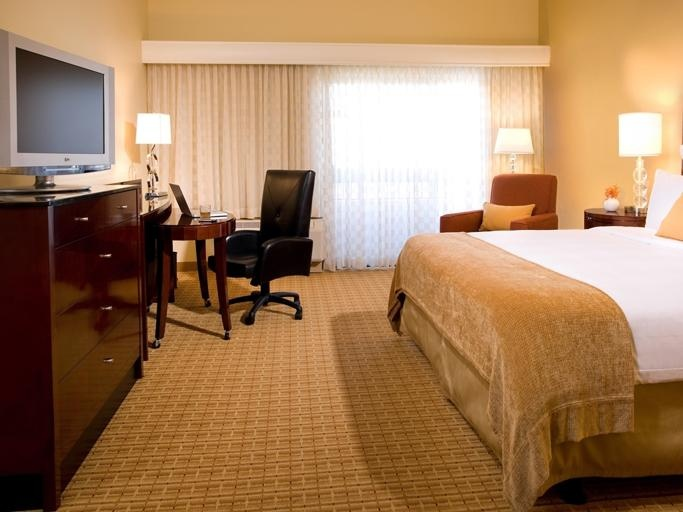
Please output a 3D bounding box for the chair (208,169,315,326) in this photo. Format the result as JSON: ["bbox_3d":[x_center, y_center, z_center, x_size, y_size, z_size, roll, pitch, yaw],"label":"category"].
[{"bbox_3d":[-0.712,-0.102,4.928,0.768,1.288,0.706,-6,11,-43],"label":"chair"}]

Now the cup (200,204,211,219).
[{"bbox_3d":[-1.093,-0.354,4.479,0.084,0.115,0.097,0,2,-11],"label":"cup"}]

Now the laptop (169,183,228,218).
[{"bbox_3d":[-1.210,-0.446,4.635,0.367,0.256,0.384,-1,7,-19],"label":"laptop"}]

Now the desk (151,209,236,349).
[{"bbox_3d":[-1.293,0.121,4.587,0.723,0.919,0.907,-2,11,-26],"label":"desk"}]

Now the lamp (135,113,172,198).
[{"bbox_3d":[-1.926,-1.059,5.694,0.337,0.808,1.336,-5,14,-19],"label":"lamp"}]

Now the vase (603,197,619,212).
[{"bbox_3d":[2.572,-0.488,5.248,0.121,0.124,0.124,-6,5,-27],"label":"vase"}]
